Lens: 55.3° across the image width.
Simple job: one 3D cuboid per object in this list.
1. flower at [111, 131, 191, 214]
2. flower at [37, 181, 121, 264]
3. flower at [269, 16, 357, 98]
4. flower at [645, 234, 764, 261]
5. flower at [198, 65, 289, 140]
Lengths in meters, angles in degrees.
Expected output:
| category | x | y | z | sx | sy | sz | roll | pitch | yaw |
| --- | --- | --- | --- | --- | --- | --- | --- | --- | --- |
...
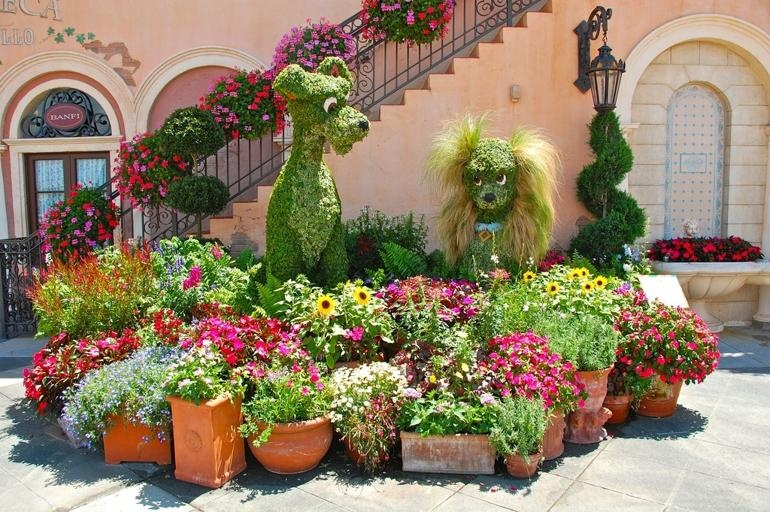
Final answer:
| category | x | y | z | sx | sy | sz | roll | pitch | yaw |
| --- | --- | --- | --- | --- | --- | --- | --- | --- | --- |
| flower | -3.408 | -1.337 | 10.746 | 1.023 | 1.073 | 1.020 | 5 | 34 | -14 |
| flower | -4.515 | -0.453 | 11.050 | 1.094 | 1.231 | 1.236 | -3 | 4 | -2 |
| flower | -1.109 | -3.099 | 11.003 | 1.006 | 0.624 | 1.005 | -2 | 4 | 20 |
| flower | 4.675 | -0.076 | 10.757 | 0.926 | 0.293 | 0.681 | -1 | 1 | 12 |
| flower | -2.019 | -2.259 | 10.768 | 1.151 | 1.095 | 0.842 | -12 | -29 | -3 |
